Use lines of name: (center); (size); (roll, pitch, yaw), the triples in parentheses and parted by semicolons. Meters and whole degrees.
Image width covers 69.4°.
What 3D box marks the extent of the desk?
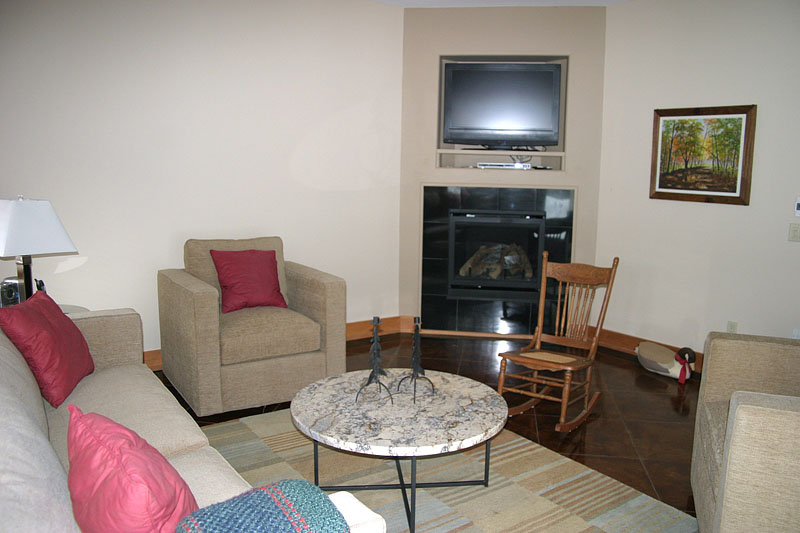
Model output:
desk: (-0.015, 0.897, 3.407); (1.019, 0.437, 1.010); (6, 18, 23)

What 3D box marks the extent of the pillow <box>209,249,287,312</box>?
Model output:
pillow: (-1.298, 0.106, 4.867); (0.593, 0.529, 0.171); (-6, -12, -14)

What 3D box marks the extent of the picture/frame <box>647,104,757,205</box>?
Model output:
picture/frame: (2.781, -1.025, 5.250); (0.949, 0.940, 0.082); (9, 10, 44)
